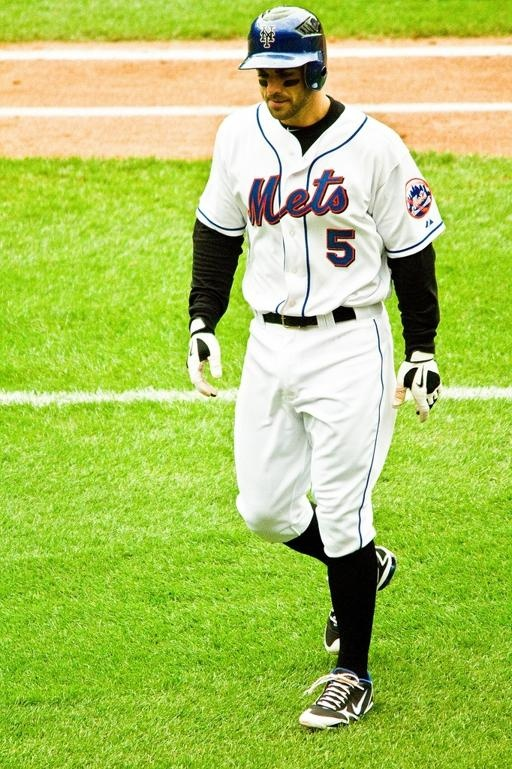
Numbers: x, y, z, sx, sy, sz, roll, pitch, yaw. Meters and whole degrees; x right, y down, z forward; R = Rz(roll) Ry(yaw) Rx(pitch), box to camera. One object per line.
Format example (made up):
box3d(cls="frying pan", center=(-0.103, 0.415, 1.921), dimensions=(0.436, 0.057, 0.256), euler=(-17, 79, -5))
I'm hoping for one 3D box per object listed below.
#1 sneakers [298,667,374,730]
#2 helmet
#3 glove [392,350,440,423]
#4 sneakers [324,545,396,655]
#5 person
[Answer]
box3d(cls="sneakers", center=(0.263, 0.985, 3.523), dimensions=(0.123, 0.100, 0.258), euler=(4, 4, 28))
box3d(cls="helmet", center=(0.101, -1.006, 3.374), dimensions=(0.228, 0.212, 0.286), euler=(5, 14, 25))
box3d(cls="glove", center=(0.503, 0.009, 3.490), dimensions=(0.097, 0.193, 0.147), euler=(-15, 31, -40))
box3d(cls="sneakers", center=(0.369, 0.740, 3.918), dimensions=(0.163, 0.506, 0.205), euler=(6, 9, 7))
box3d(cls="person", center=(0.170, -0.071, 3.580), dimensions=(0.489, 2.166, 0.823), euler=(-9, 18, -41))
